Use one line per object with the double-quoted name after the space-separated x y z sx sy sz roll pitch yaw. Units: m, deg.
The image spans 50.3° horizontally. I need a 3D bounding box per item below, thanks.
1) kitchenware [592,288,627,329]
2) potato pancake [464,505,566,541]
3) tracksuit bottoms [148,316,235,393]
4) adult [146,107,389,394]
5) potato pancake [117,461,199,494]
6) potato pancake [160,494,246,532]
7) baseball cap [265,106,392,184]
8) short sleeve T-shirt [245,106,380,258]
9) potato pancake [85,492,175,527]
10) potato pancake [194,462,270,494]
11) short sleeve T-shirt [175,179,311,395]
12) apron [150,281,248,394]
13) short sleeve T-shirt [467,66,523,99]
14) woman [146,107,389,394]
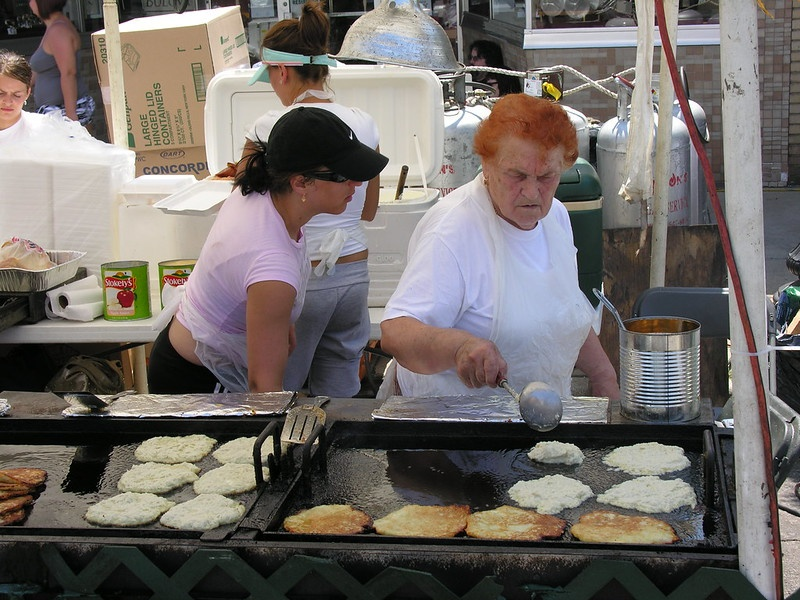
1.000 0.038 4.069 0.044 0.319 0.068 -30 40 16 "kitchenware"
0.296 0.582 2.185 0.250 0.034 0.172 -1 9 14 "potato pancake"
-0.863 0.217 3.349 0.465 0.262 0.337 -5 -6 33 "tracksuit bottoms"
-0.527 -0.173 3.476 0.776 0.627 1.492 0 -28 -8 "adult"
-0.690 0.508 2.420 0.103 0.022 0.120 13 16 43 "potato pancake"
-0.506 0.559 2.229 0.109 0.015 0.113 11 17 38 "potato pancake"
-0.243 -0.531 2.910 0.367 0.192 0.232 -4 30 4 "baseball cap"
-0.334 -0.435 3.154 0.671 0.658 0.347 -4 14 -9 "short sleeve T-shirt"
-0.729 0.561 2.263 0.125 0.016 0.100 5 13 12 "potato pancake"
-0.484 0.507 2.399 0.108 0.015 0.123 6 12 34 "potato pancake"
-0.559 -0.020 3.101 0.420 0.686 0.755 1 -32 -20 "short sleeve T-shirt"
-0.823 0.201 3.408 0.549 0.392 0.718 7 -8 -12 "apron"
0.974 -2.202 8.601 0.476 0.287 0.798 -2 9 5 "short sleeve T-shirt"
-0.527 -0.173 3.476 0.776 0.627 1.492 0 -28 -8 "woman"
